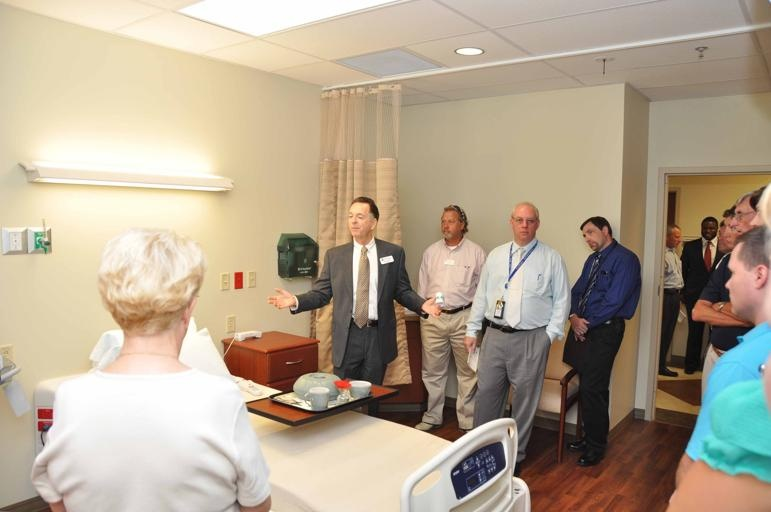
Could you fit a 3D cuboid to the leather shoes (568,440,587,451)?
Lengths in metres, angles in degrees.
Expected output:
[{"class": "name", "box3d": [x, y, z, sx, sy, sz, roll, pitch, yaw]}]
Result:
[{"class": "leather shoes", "box3d": [1.867, 1.846, 4.972, 0.180, 0.075, 0.073, -3, 13, -20]}]

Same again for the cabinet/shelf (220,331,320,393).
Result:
[{"class": "cabinet/shelf", "box3d": [-1.036, 1.071, 4.665, 0.710, 0.599, 0.733, 2, 2, 21]}]

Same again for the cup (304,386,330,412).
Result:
[{"class": "cup", "box3d": [-0.421, 0.895, 3.189, 0.136, 0.106, 0.110, 1, 1, -6]}]

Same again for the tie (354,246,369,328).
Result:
[{"class": "tie", "box3d": [-0.197, 0.273, 4.403, 0.126, 0.671, 0.222, 2, 8, -4]}]

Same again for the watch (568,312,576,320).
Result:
[{"class": "watch", "box3d": [1.827, 0.599, 4.984, 0.068, 0.065, 0.061, 14, -13, -39]}]

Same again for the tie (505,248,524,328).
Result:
[{"class": "tie", "box3d": [1.140, 0.377, 4.540, 0.145, 0.505, 0.153, 4, 8, 12]}]

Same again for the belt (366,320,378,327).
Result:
[{"class": "belt", "box3d": [-0.112, 0.586, 4.389, 0.064, 0.026, 0.055, -3, 5, -33]}]

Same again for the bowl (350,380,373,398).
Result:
[{"class": "bowl", "box3d": [-0.172, 0.902, 3.454, 0.100, 0.069, 0.102, -1, -3, 0]}]

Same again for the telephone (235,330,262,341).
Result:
[{"class": "telephone", "box3d": [-1.238, 0.723, 4.578, 0.058, 0.074, 0.303, 6, 6, 38]}]

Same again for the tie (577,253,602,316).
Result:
[{"class": "tie", "box3d": [2.002, 0.306, 4.998, 0.076, 0.642, 0.068, 26, -11, -26]}]

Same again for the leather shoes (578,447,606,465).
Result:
[{"class": "leather shoes", "box3d": [1.914, 1.853, 4.737, 0.335, 0.134, 0.129, -4, 10, -42]}]
